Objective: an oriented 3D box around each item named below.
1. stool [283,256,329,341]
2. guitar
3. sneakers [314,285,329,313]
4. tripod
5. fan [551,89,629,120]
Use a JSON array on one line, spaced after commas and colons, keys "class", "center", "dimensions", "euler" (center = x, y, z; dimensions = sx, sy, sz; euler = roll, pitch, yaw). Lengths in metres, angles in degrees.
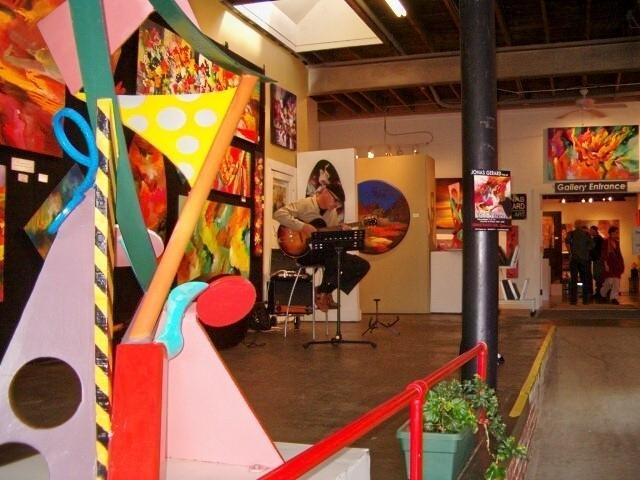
[{"class": "stool", "center": [-0.242, 0.759, 7.082], "dimensions": [0.213, 0.997, 0.691], "euler": [-3, -12, 22]}, {"class": "guitar", "center": [0.079, -0.030, 6.332], "dimensions": [0.966, 0.550, 1.450], "euler": [4, -3, -15]}, {"class": "sneakers", "center": [0.016, 0.803, 6.854], "dimensions": [0.121, 0.381, 0.155], "euler": [-2, -26, -38]}, {"class": "tripod", "center": [0.281, 0.692, 6.350], "dimensions": [0.803, 1.275, 0.848], "euler": [-6, -15, 24]}, {"class": "fan", "center": [6.559, -3.153, 12.538], "dimensions": [0.899, 0.393, 0.914], "euler": [-3, -2, -5]}]
